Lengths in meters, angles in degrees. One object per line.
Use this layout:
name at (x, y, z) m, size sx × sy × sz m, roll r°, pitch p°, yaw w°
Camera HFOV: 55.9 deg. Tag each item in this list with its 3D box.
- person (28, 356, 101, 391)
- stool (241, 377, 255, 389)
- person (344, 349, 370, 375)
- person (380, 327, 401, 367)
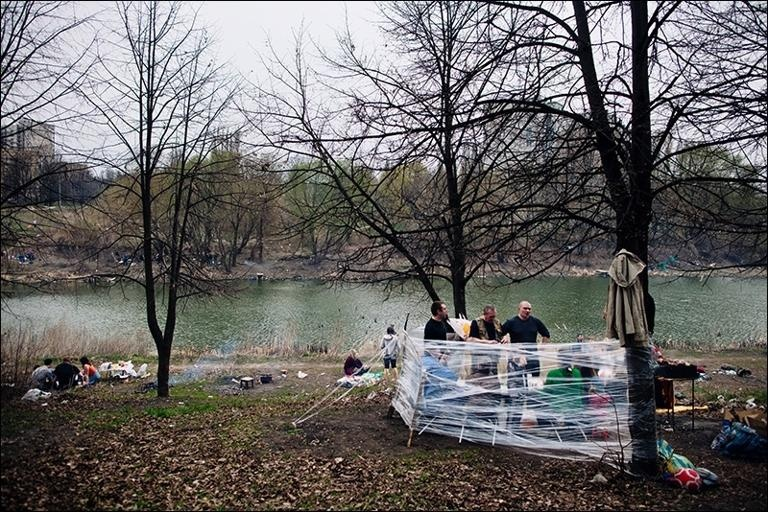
person at (-10.055, 3.663, 22.863) m, size 1.091 × 0.714 × 1.349 m, roll 1°, pitch -9°, yaw 6°
stool at (-4.475, 4.066, 23.564) m, size 0.367 × 0.349 × 0.370 m, roll -3°, pitch -1°, yaw 26°
person at (-0.969, 3.556, 24.230) m, size 0.851 × 1.084 × 0.884 m, roll -4°, pitch -1°, yaw 21°
person at (0.154, 2.878, 22.221) m, size 0.533 × 1.280 × 1.316 m, roll -2°, pitch 6°, yaw -1°
